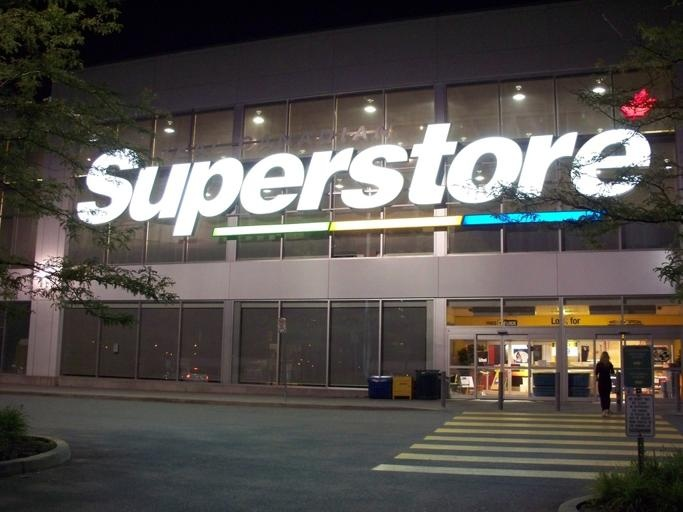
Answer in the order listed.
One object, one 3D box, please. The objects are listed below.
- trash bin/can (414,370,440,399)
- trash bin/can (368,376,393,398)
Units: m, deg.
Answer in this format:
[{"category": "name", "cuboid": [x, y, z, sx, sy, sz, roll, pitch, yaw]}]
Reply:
[{"category": "trash bin/can", "cuboid": [3.750, 5.587, 29.296, 1.305, 1.397, 1.064, -3, -15, 10]}, {"category": "trash bin/can", "cuboid": [1.714, 5.717, 29.136, 0.883, 0.711, 0.916, 0, -14, 2]}]
